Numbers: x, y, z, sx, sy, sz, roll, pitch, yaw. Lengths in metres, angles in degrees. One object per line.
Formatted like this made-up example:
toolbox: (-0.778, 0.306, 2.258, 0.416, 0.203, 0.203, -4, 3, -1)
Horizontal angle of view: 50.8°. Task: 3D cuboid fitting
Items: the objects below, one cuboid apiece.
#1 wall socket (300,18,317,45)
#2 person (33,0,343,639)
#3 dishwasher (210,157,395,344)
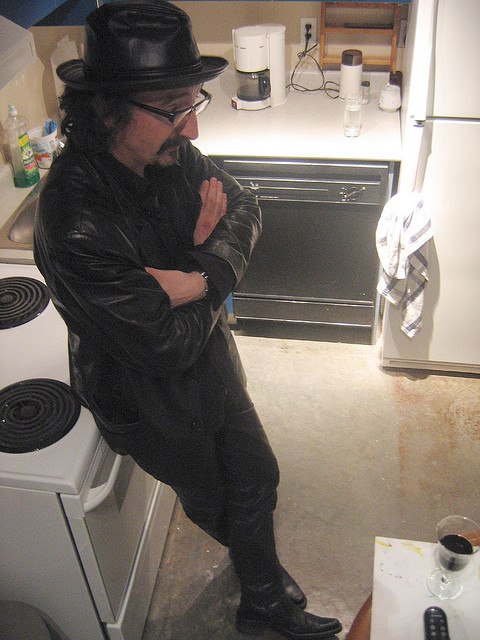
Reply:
wall socket: (0.354, -1.493, 2.618, 0.089, 0.123, 0.034, 3, 33, 11)
person: (-0.093, 0.213, 1.260, 0.527, 1.712, 0.539, -24, 37, -29)
dishwasher: (0.350, -0.512, 2.669, 0.771, 1.096, 0.733, 1, 44, 8)
